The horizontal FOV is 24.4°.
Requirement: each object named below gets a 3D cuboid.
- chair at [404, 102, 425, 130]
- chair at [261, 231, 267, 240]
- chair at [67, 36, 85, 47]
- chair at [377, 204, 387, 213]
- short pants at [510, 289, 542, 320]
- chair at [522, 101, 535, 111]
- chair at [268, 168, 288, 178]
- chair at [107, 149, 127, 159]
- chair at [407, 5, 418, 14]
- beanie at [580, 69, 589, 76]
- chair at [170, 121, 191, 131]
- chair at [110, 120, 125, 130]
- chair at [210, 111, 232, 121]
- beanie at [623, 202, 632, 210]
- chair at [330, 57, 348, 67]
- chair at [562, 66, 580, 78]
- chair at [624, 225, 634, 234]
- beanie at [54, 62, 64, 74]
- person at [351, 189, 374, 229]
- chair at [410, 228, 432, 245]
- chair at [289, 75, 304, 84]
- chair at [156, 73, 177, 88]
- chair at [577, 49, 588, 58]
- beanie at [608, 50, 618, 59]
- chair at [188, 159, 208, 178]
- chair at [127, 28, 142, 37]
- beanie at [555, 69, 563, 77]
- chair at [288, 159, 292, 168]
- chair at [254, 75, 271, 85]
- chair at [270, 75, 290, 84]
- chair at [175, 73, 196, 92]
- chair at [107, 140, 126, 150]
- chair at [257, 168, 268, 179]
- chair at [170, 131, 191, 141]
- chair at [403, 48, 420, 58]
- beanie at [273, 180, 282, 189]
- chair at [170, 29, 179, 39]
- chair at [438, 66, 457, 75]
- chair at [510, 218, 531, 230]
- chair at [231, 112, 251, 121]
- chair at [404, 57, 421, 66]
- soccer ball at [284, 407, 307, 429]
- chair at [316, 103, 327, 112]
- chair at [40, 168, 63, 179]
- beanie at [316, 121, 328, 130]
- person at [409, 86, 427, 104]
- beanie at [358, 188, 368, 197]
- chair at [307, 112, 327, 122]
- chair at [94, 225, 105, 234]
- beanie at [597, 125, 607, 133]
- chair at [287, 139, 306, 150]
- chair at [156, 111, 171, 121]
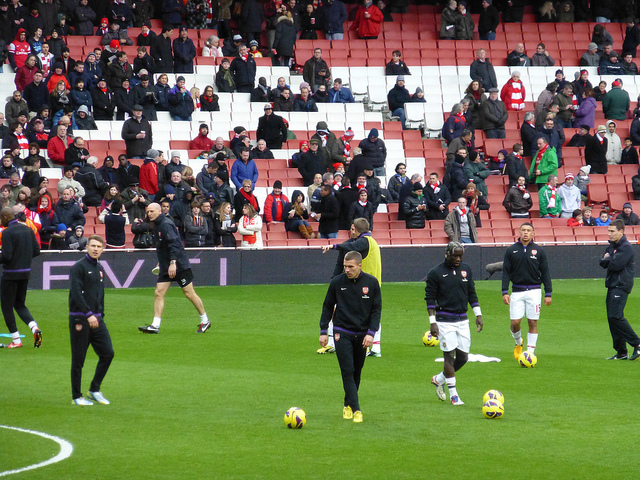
[{"bbox_3d":[3.138,-4.184,50.032,0.848,1.058,0.729,-1,0,-14],"label":"chair"},{"bbox_3d":[-1.701,-0.123,44.251,0.158,0.328,0.195,1,39,-6],"label":"chair"},{"bbox_3d":[-8.077,-6.567,48.714,0.461,0.531,0.289,1,9,-10],"label":"chair"},{"bbox_3d":[1.940,-0.996,46.272,0.278,0.326,0.227,2,-11,-8],"label":"chair"},{"bbox_3d":[4.782,1.528,34.121,0.701,0.846,0.441,2,-18,11],"label":"short pants"},{"bbox_3d":[7.333,-4.674,51.696,0.319,0.549,0.410,1,3,2],"label":"chair"},{"bbox_3d":[-1.345,-2.093,46.397,0.615,0.251,0.276,0,13,-6],"label":"chair"},{"bbox_3d":[-6.307,-2.678,45.451,0.498,0.396,0.311,1,-4,-14],"label":"chair"},{"bbox_3d":[3.549,-8.840,56.475,0.357,0.267,0.290,-2,14,-10],"label":"chair"},{"bbox_3d":[8.997,-5.732,50.219,0.277,0.229,0.372,1,3,3],"label":"beanie"},{"bbox_3d":[-4.448,-3.592,46.780,0.666,0.281,0.186,-4,13,-19],"label":"chair"},{"bbox_3d":[-6.400,-3.589,46.253,0.293,0.271,0.339,-2,23,4],"label":"chair"},{"bbox_3d":[-3.230,-3.999,47.664,0.701,0.304,0.249,-3,14,-17],"label":"chair"},{"bbox_3d":[9.743,-1.064,46.659,0.206,0.135,0.288,1,0,5],"label":"beanie"},{"bbox_3d":[0.652,-6.215,51.675,0.639,0.291,0.413,-1,14,-7],"label":"chair"},{"bbox_3d":[9.034,-6.016,53.065,0.488,0.587,0.524,-1,23,-2],"label":"chair"},{"bbox_3d":[9.754,-0.315,46.655,0.256,0.427,0.312,0,0,11],"label":"chair"},{"bbox_3d":[-7.956,-5.260,44.853,0.207,0.288,0.312,2,5,-14],"label":"beanie"},{"bbox_3d":[1.219,-0.837,43.191,0.629,1.257,1.961,1,14,2],"label":"person"},{"bbox_3d":[3.088,-0.095,45.205,0.467,0.381,0.519,-1,-2,-6],"label":"chair"},{"bbox_3d":[-0.854,-5.476,50.432,0.312,0.363,0.349,6,11,35],"label":"chair"},{"bbox_3d":[-5.053,-5.221,48.140,0.626,0.504,1.132,-1,14,-7],"label":"chair"},{"bbox_3d":[9.754,-6.913,54.853,0.350,0.485,0.330,2,5,31],"label":"chair"},{"bbox_3d":[10.549,-6.672,53.062,0.296,0.268,0.593,9,16,30],"label":"beanie"},{"bbox_3d":[-3.756,-2.177,45.334,0.477,0.777,0.586,1,1,-3],"label":"chair"},{"bbox_3d":[-6.283,-7.017,49.807,0.658,0.292,0.455,0,2,-14],"label":"chair"},{"bbox_3d":[8.110,-5.696,49.981,0.228,0.205,0.251,0,-6,0],"label":"beanie"},{"bbox_3d":[-0.972,-2.428,46.833,0.124,0.222,0.334,0,14,-5],"label":"chair"},{"bbox_3d":[-1.946,-5.380,49.575,0.545,0.429,1.214,0,14,-2],"label":"chair"},{"bbox_3d":[-1.391,-5.425,50.081,0.677,0.283,0.485,6,15,19],"label":"chair"},{"bbox_3d":[-4.482,-5.199,48.867,0.494,0.818,0.580,-1,2,-20],"label":"chair"},{"bbox_3d":[-6.341,-2.939,45.706,0.528,0.264,0.403,-2,14,-11],"label":"chair"},{"bbox_3d":[-1.805,-2.079,46.228,0.234,0.372,0.288,0,-1,-8],"label":"chair"},{"bbox_3d":[-4.454,-3.302,46.650,0.631,0.247,0.233,-3,14,-14],"label":"chair"},{"bbox_3d":[3.271,-6.715,53.025,0.634,0.276,0.462,-2,14,-14],"label":"chair"},{"bbox_3d":[-1.261,-1.617,43.679,0.216,0.328,0.492,-1,14,-8],"label":"beanie"},{"bbox_3d":[-4.915,-6.933,49.707,0.262,0.310,0.718,-1,14,-7],"label":"chair"},{"bbox_3d":[4.557,-6.011,52.461,0.665,0.255,0.351,0,14,-5],"label":"chair"},{"bbox_3d":[6.294,-0.559,46.585,0.585,0.478,0.326,0,-3,-8],"label":"chair"},{"bbox_3d":[-2.603,-3.995,47.988,0.673,0.251,0.348,-3,14,-17],"label":"chair"},{"bbox_3d":[3.302,-6.359,52.695,0.593,0.251,0.392,-1,14,-10],"label":"chair"},{"bbox_3d":[-0.522,3.676,30.242,0.361,0.404,0.399,13,30,-29],"label":"soccer ball"},{"bbox_3d":[0.053,-4.398,49.077,0.253,0.321,0.285,2,6,-1],"label":"chair"},{"bbox_3d":[-7.984,-1.950,43.665,0.619,0.302,0.213,-3,13,-14],"label":"chair"},{"bbox_3d":[0.049,-3.525,45.496,0.288,0.225,0.420,0,14,-5],"label":"beanie"},{"bbox_3d":[3.322,-4.848,49.944,0.651,0.753,0.437,0,3,-18],"label":"person"},{"bbox_3d":[1.251,-1.422,43.444,0.270,0.266,0.746,1,14,0],"label":"beanie"},{"bbox_3d":[-0.056,-4.047,48.648,0.356,0.330,0.874,11,17,36],"label":"chair"},{"bbox_3d":[-6.507,-0.305,43.302,0.278,0.233,0.212,1,7,-10],"label":"chair"},{"bbox_3d":[9.105,-3.584,47.792,0.213,0.194,0.225,6,13,34],"label":"beanie"},{"bbox_3d":[-0.883,-3.060,47.688,0.337,0.336,0.401,0,-11,-13],"label":"chair"},{"bbox_3d":[-5.019,-3.940,47.122,0.349,0.411,0.289,0,-10,-6],"label":"chair"}]
